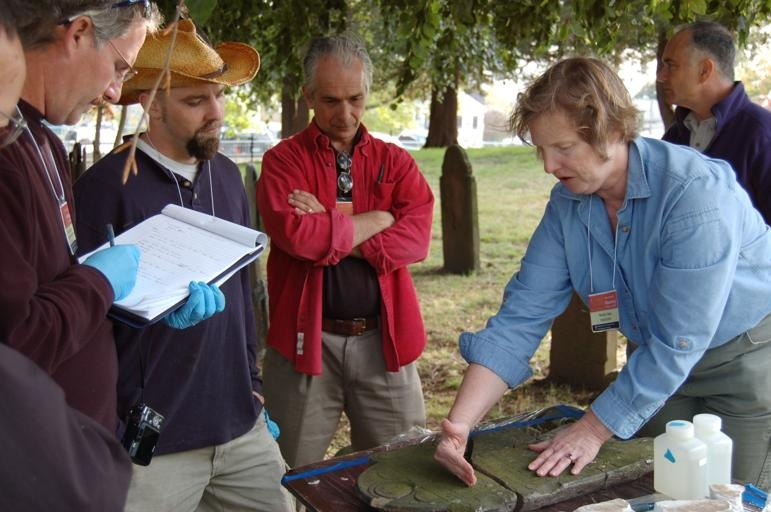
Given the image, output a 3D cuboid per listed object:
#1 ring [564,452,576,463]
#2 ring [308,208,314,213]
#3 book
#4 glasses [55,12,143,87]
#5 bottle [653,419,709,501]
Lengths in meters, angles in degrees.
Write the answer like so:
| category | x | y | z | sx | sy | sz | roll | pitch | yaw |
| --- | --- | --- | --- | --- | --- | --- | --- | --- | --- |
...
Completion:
| category | x | y | z | sx | sy | sz | roll | pitch | yaw |
| --- | --- | --- | --- | --- | --- | --- | --- | --- | --- |
| ring | 0.690 | 0.757 | 2.527 | 0.028 | 0.016 | 0.039 | 11 | 11 | 32 |
| ring | -0.391 | -0.234 | 3.480 | 0.021 | 0.022 | 0.005 | 2 | -16 | -16 |
| book | -0.792 | 0.025 | 2.503 | 0.471 | 0.110 | 0.508 | 23 | 38 | 22 |
| glasses | -0.919 | -0.672 | 2.188 | 0.188 | 0.201 | 0.065 | 20 | 46 | 33 |
| bottle | 1.017 | 0.718 | 2.350 | 0.198 | 0.289 | 0.140 | 9 | 14 | 41 |
